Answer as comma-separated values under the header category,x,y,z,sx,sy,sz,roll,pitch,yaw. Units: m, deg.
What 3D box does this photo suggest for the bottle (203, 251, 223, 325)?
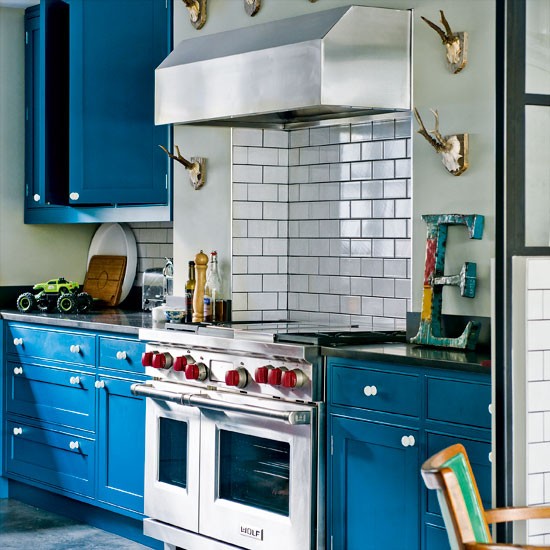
category,x,y,z,sx,sy,sz,roll,pitch,yaw
bottle,-0.272,0.051,3.068,0.087,0.311,0.185,2,0,-5

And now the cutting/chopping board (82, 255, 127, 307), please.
category,x,y,z,sx,sy,sz,roll,pitch,yaw
cutting/chopping board,-1.051,0.035,4.275,0.292,0.332,0.074,0,-9,44

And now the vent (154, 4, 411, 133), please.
category,x,y,z,sx,sy,sz,roll,pitch,yaw
vent,0.008,-0.813,2.678,1.065,0.437,0.337,4,1,38

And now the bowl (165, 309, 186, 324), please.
category,x,y,z,sx,sy,sz,roll,pitch,yaw
bowl,-0.459,0.188,3.098,0.149,0.063,0.075,4,1,41

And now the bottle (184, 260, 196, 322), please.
category,x,y,z,sx,sy,sz,roll,pitch,yaw
bottle,-0.391,0.075,3.146,0.047,0.276,0.299,2,1,-8
